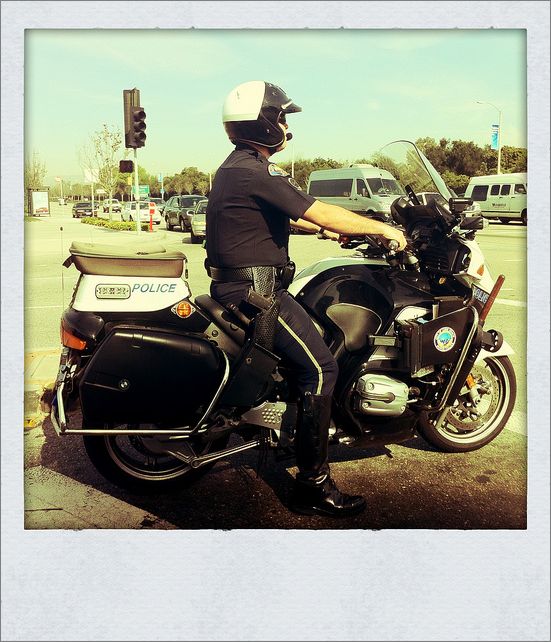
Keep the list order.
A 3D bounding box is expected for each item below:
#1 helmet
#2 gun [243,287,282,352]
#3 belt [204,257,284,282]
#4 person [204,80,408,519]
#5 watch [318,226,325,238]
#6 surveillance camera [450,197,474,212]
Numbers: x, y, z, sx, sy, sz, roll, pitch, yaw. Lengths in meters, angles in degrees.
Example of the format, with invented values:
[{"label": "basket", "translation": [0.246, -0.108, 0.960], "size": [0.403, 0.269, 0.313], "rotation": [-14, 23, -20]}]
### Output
[{"label": "helmet", "translation": [-0.062, -1.035, 2.851], "size": [0.423, 0.335, 0.327], "rotation": [3, 8, 8]}, {"label": "gun", "translation": [-0.046, 0.006, 2.661], "size": [0.179, 0.314, 0.080], "rotation": [-12, 18, -43]}, {"label": "belt", "translation": [-0.119, -0.215, 2.679], "size": [0.240, 0.067, 0.172], "rotation": [1, 1, -19]}, {"label": "person", "translation": [0.096, -0.075, 2.838], "size": [0.887, 2.205, 0.477], "rotation": [-1, 13, -7]}, {"label": "watch", "translation": [0.282, -0.527, 3.315], "size": [0.047, 0.043, 0.045], "rotation": [7, -13, -1]}, {"label": "surveillance camera", "translation": [1.019, -0.623, 2.989], "size": [0.119, 0.081, 0.077], "rotation": [0, 7, -12]}]
